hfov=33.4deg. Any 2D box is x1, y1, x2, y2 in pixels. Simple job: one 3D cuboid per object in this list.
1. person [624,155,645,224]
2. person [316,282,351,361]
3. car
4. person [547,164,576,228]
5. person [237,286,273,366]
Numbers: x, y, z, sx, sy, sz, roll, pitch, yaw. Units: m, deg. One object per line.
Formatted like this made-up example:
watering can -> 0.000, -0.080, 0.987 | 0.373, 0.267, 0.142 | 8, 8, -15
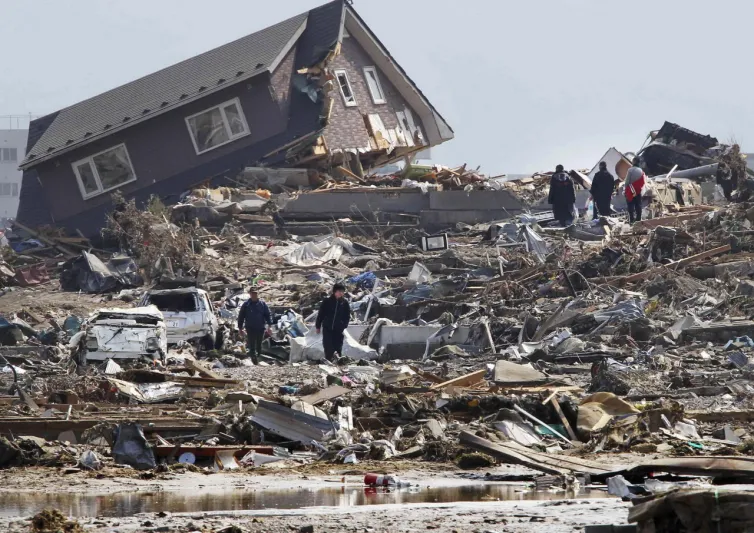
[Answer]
person -> 6.599, -1.831, 32.031 | 0.459, 1.464, 1.636 | 0, 12, 12
person -> -0.887, 1.097, 25.840 | 0.688, 1.673, 0.830 | -3, 13, -3
car -> -4.629, 1.236, 25.904 | 1.406, 0.980, 2.326 | -4, -7, 13
person -> 4.861, -1.890, 32.862 | 0.642, 1.601, 1.255 | -1, 13, 8
person -> -2.577, 1.215, 26.731 | 0.694, 1.672, 0.834 | -3, 13, -5
